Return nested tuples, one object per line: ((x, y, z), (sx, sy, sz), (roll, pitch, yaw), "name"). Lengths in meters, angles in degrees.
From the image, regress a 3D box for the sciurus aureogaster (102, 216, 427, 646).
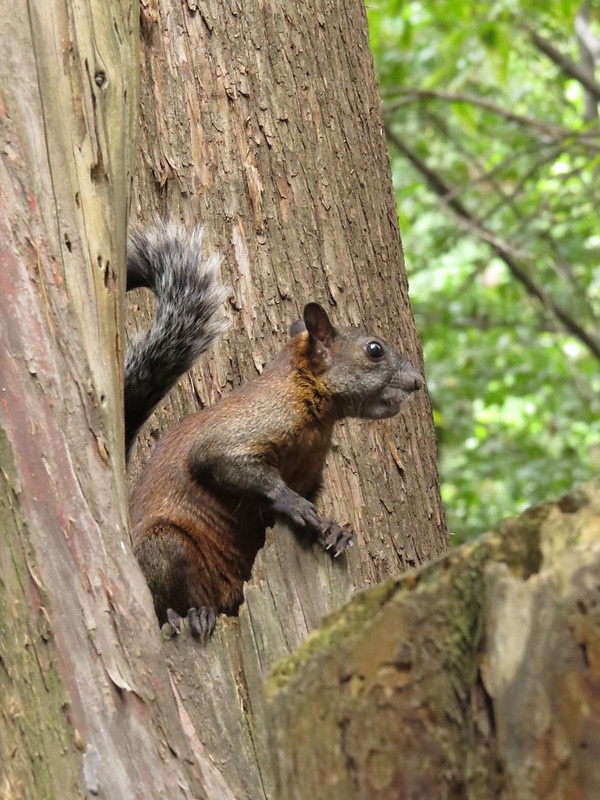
((-0.255, 0.120, 4.969), (1.240, 1.575, 0.576), (-3, -21, 7), "sciurus aureogaster")
